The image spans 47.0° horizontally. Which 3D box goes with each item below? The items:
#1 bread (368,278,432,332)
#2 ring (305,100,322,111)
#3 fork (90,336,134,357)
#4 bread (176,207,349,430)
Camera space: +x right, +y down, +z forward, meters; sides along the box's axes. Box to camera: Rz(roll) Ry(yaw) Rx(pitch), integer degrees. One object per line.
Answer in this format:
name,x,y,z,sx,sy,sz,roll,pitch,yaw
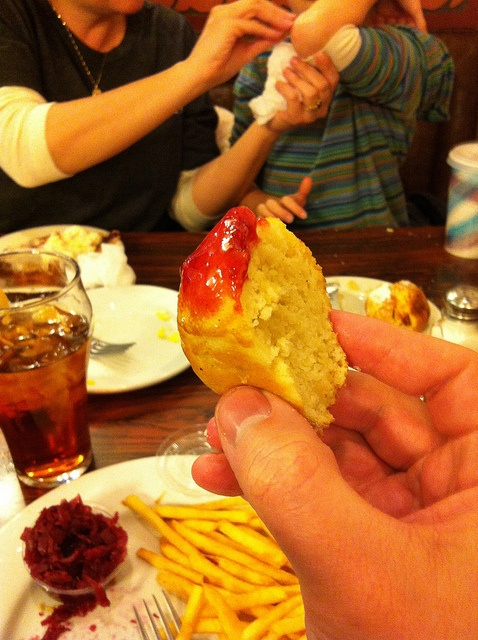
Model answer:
bread,0.304,-0.027,1.048,0.118,0.061,0.108,-2,25,-4
ring,0.212,-0.608,1.563,0.029,0.012,0.035,-14,0,-2
fork,-0.242,0.052,1.031,0.082,0.018,0.065,0,37,7
bread,0.025,0.025,0.538,0.081,0.217,0.166,-30,29,21
